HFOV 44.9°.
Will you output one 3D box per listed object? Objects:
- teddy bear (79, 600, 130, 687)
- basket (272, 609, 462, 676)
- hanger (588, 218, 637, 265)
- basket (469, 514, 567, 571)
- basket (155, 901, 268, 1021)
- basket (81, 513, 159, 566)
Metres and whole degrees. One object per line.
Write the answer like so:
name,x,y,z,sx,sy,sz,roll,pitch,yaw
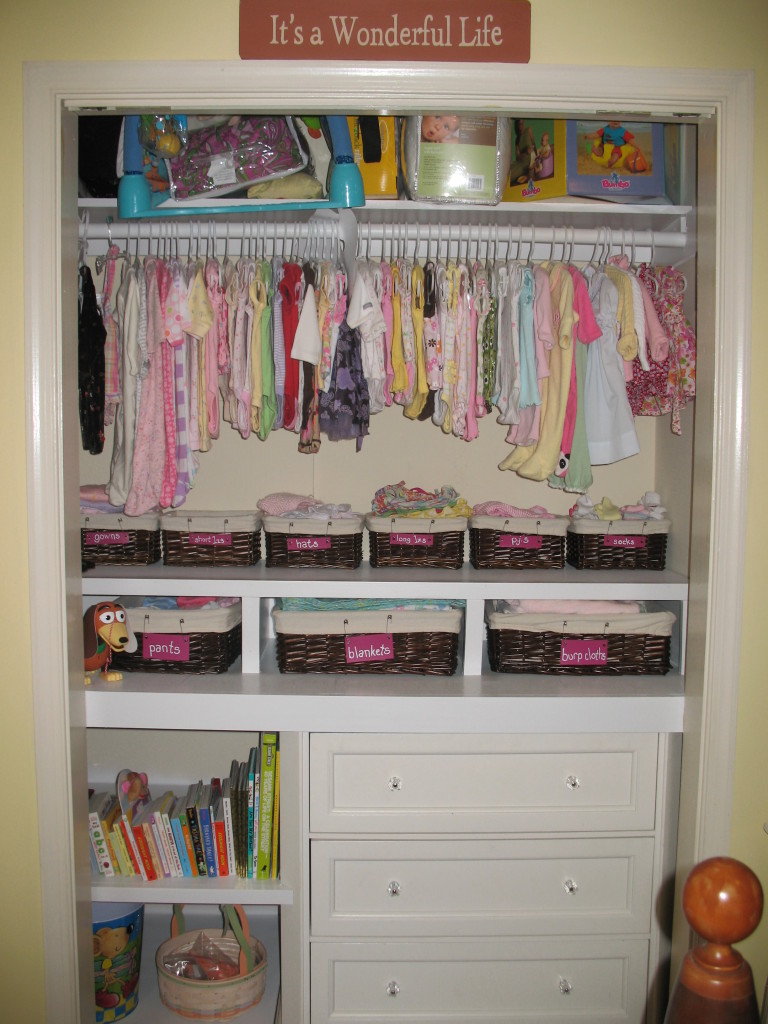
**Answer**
teddy bear,-0.678,0.309,2.264,0.107,0.191,0.180,0,8,-40
basket,-0.045,0.279,2.242,0.321,0.121,0.207,0,3,-2
hanger,0.598,-0.705,2.476,0.115,0.158,0.129,3,12,3
basket,0.353,0.084,2.418,0.168,0.106,0.171,0,2,4
basket,-0.405,1.103,2.303,0.247,0.275,0.246,0,2,5
basket,-0.690,0.072,2.469,0.152,0.096,0.153,1,7,-4
